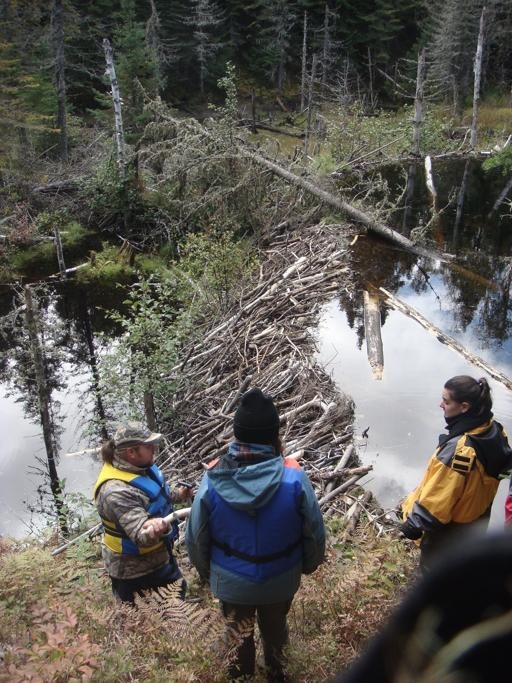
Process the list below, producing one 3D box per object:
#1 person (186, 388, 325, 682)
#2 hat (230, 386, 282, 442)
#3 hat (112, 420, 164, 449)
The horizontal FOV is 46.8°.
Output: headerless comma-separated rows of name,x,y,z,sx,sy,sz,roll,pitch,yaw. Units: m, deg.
person,-0.007,1.097,3.339,0.626,1.702,0.584,-13,24,-34
hat,0.010,0.372,3.278,0.233,0.247,0.315,0,26,3
hat,-0.815,0.635,4.034,0.292,0.139,0.178,-2,8,-10
